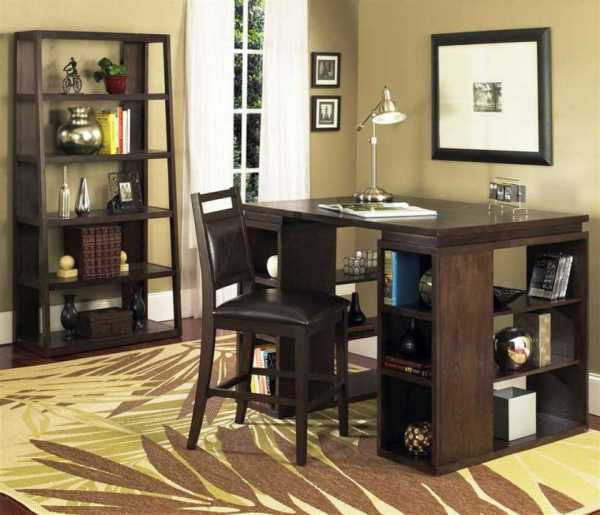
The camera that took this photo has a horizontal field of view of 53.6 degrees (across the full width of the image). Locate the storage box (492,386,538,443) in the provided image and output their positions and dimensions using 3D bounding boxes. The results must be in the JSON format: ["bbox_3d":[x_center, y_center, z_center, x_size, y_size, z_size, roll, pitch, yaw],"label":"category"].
[{"bbox_3d":[0.942,0.703,2.602,0.223,0.183,0.219,-6,-14,5],"label":"storage box"}]

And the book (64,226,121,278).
[{"bbox_3d":[-1.424,-0.118,4.201,0.327,0.431,0.441,-5,10,-37],"label":"book"}]

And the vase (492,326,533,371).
[{"bbox_3d":[0.886,0.373,2.534,0.200,0.186,0.161,0,0,19],"label":"vase"}]

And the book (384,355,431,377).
[{"bbox_3d":[0.419,0.427,2.329,0.209,0.051,0.032,6,8,44],"label":"book"}]

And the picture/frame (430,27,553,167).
[{"bbox_3d":[1.049,-0.875,3.197,0.059,0.810,0.847,-6,7,-40],"label":"picture/frame"}]

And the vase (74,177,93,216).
[{"bbox_3d":[-1.479,-0.415,4.045,0.091,0.255,0.201,-2,6,-20],"label":"vase"}]

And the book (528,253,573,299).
[{"bbox_3d":[1.107,0.083,2.649,0.153,0.207,0.062,6,-11,41],"label":"book"}]

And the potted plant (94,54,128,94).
[{"bbox_3d":[-1.305,-1.247,4.118,0.202,0.264,0.174,5,7,41],"label":"potted plant"}]

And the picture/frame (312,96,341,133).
[{"bbox_3d":[0.213,-1.217,5.020,0.278,0.280,0.019,-9,20,-30],"label":"picture/frame"}]

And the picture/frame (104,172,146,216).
[{"bbox_3d":[-1.257,-0.475,4.223,0.230,0.268,0.201,-10,23,-42],"label":"picture/frame"}]

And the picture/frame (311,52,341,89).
[{"bbox_3d":[0.223,-1.571,4.979,0.281,0.279,0.024,13,19,36],"label":"picture/frame"}]

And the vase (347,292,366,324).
[{"bbox_3d":[0.275,0.259,2.996,0.109,0.171,0.119,-3,8,-15],"label":"vase"}]
